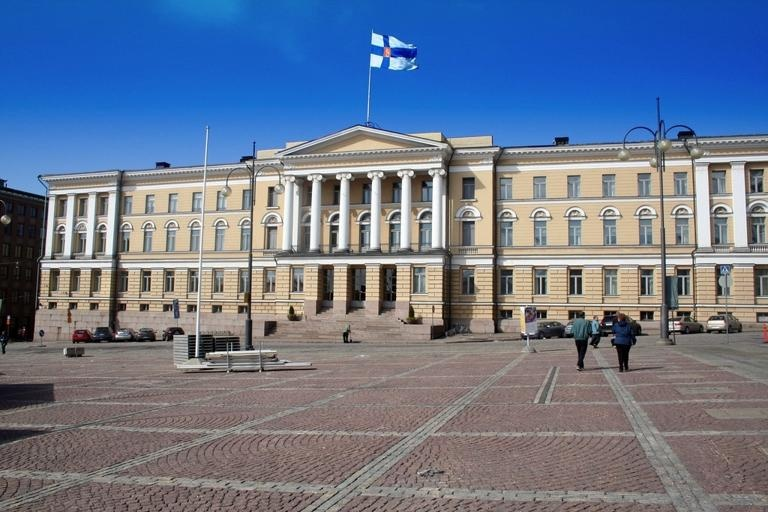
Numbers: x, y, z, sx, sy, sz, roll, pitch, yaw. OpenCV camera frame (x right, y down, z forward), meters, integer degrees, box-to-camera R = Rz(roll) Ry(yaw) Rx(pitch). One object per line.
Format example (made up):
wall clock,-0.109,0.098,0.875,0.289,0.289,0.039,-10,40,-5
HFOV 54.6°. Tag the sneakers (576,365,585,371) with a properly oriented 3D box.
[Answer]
sneakers,7.436,4.237,28.153,0.241,0.176,0.353,-1,-4,10

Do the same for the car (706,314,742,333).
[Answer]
car,24.930,4.907,54.481,2.432,1.456,7.788,-2,-4,25
